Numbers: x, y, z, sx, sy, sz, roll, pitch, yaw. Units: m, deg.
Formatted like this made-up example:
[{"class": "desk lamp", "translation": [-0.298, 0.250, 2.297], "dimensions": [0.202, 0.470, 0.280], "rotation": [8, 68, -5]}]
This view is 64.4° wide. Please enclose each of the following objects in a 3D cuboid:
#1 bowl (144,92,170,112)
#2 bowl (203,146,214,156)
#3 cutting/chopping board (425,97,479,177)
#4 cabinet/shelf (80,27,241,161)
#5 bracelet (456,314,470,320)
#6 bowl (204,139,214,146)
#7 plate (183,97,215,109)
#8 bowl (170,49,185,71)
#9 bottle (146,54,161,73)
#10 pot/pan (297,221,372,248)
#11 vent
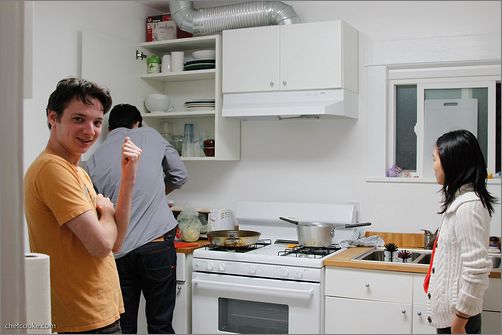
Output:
[{"class": "bowl", "translation": [-0.790, -0.549, 3.355], "dimensions": [0.167, 0.118, 0.165], "rotation": [0, 5, 0]}, {"class": "bowl", "translation": [-0.340, -0.133, 3.218], "dimensions": [0.097, 0.072, 0.054], "rotation": [1, 3, 15]}, {"class": "cutting/chopping board", "translation": [1.488, -0.208, 2.951], "dimensions": [0.429, 0.608, 0.059], "rotation": [2, -3, -1]}, {"class": "cabinet/shelf", "translation": [-0.653, -0.689, 3.342], "dimensions": [1.253, 1.188, 1.014], "rotation": [0, -2, 6]}, {"class": "bracelet", "translation": [0.909, 0.638, 1.700], "dimensions": [0.029, 0.007, 0.028], "rotation": [3, 1, -21]}, {"class": "bowl", "translation": [-0.348, -0.201, 3.222], "dimensions": [0.119, 0.056, 0.054], "rotation": [2, 3, 34]}, {"class": "plate", "translation": [-0.402, -0.530, 3.279], "dimensions": [0.289, 0.085, 0.126], "rotation": [2, 3, 28]}, {"class": "bowl", "translation": [-0.613, -0.887, 3.315], "dimensions": [0.104, 0.168, 0.166], "rotation": [0, -2, -9]}, {"class": "bottle", "translation": [-0.827, -0.881, 3.386], "dimensions": [0.141, 0.194, 0.140], "rotation": [-1, 3, 0]}, {"class": "pot/pan", "translation": [0.536, 0.425, 2.789], "dimensions": [0.402, 0.149, 0.220], "rotation": [0, -3, 16]}, {"class": "vent", "translation": [0.307, -0.597, 3.167], "dimensions": [0.921, 0.218, 0.667], "rotation": [2, 23, 15]}]
